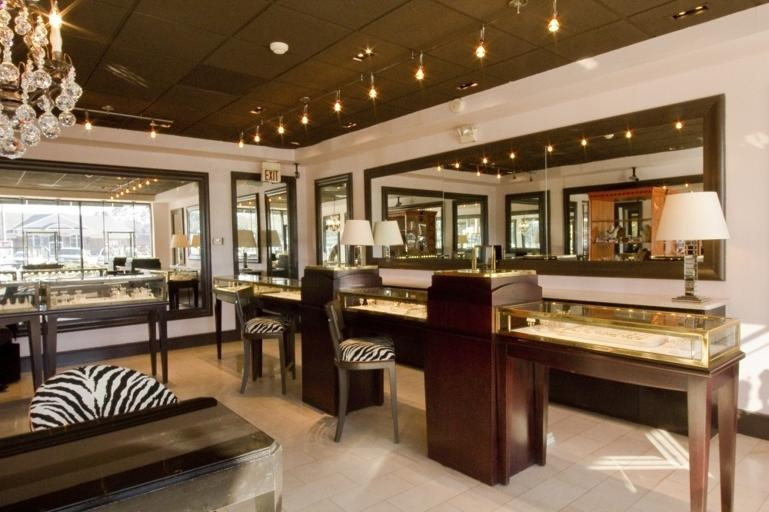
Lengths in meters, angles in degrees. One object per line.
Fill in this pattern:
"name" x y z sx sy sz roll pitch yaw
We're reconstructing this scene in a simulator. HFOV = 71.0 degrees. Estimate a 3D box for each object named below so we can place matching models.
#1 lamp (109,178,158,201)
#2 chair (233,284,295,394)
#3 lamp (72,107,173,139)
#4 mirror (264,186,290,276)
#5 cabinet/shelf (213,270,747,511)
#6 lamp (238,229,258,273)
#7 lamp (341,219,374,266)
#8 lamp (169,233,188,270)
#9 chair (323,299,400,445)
"lamp" -5.457 -1.449 11.567 0.283 0.115 2.722 6 -10 -43
"chair" -1.407 0.985 6.444 0.819 1.120 0.805 -2 2 -23
"lamp" -3.392 -1.843 7.183 1.434 0.275 0.148 9 -11 -15
"mirror" -2.037 -0.478 10.132 0.278 1.663 1.022 -6 11 -24
"cabinet/shelf" 0.968 0.962 4.630 3.477 1.689 0.830 6 13 36
"lamp" -2.547 -0.080 9.880 0.496 0.758 0.466 -4 -17 -10
"lamp" -0.335 -0.139 6.307 0.464 0.545 0.507 2 1 13
"lamp" -4.218 -0.059 11.090 0.439 0.772 0.428 -8 -13 -4
"chair" -0.194 1.091 5.291 0.927 1.168 0.932 1 -1 40
